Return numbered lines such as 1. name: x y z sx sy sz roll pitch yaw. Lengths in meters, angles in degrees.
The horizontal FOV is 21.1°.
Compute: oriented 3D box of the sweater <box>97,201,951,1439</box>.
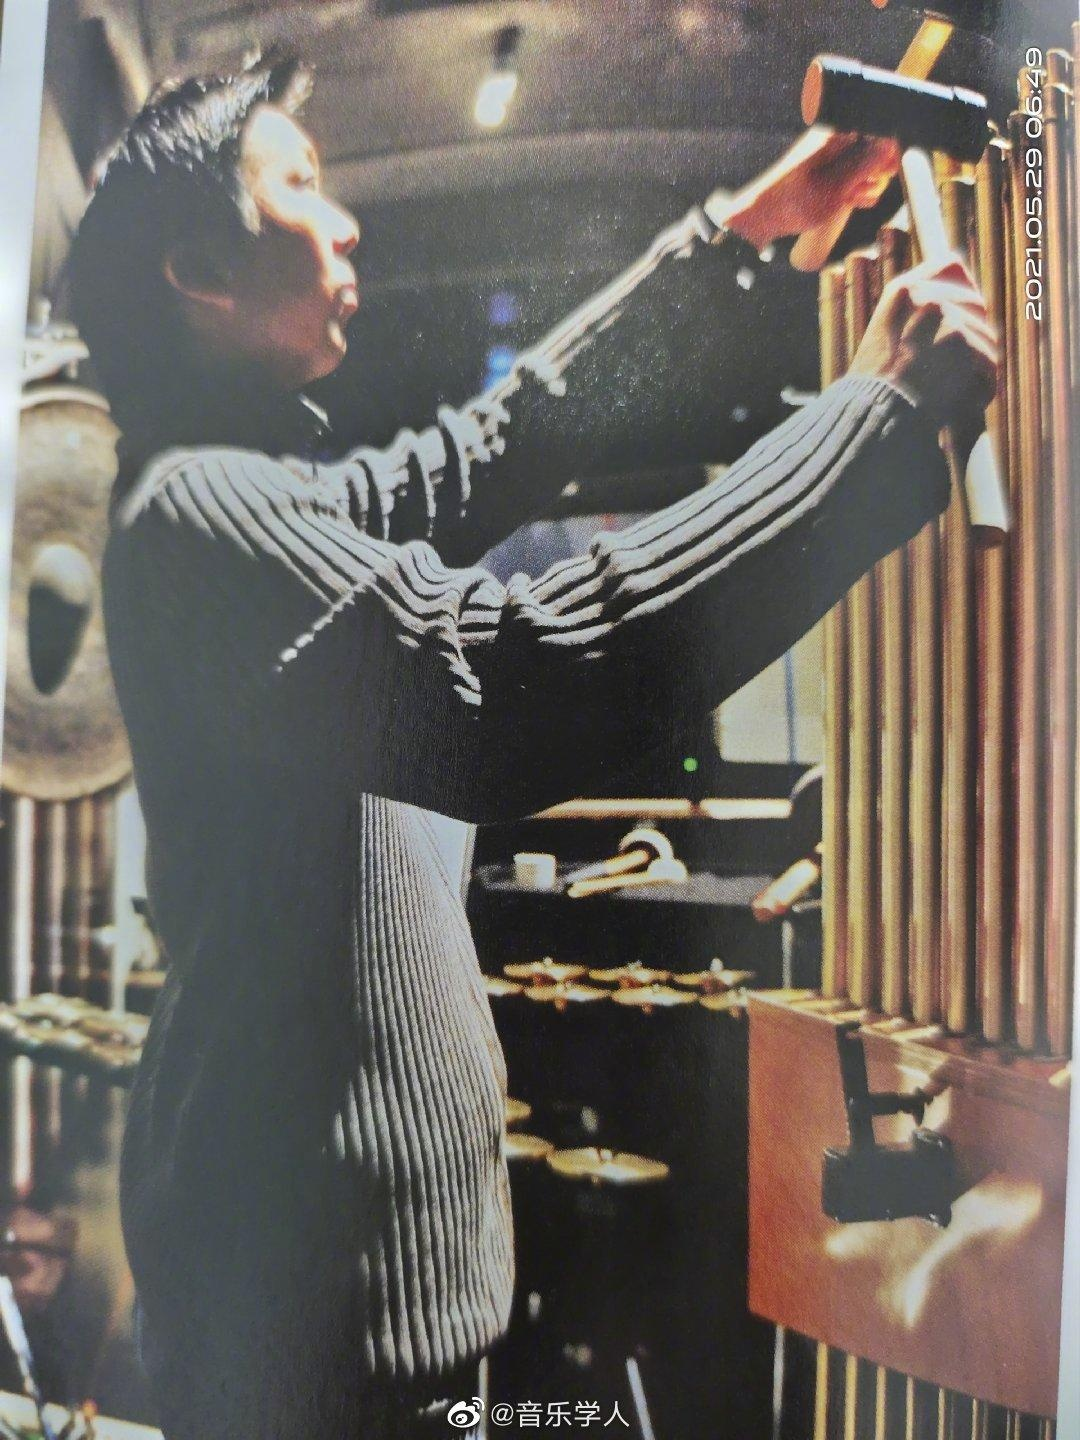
1. sweater: -0.104 0.152 4.389 1.095 1.811 0.225 -1 2 -10
